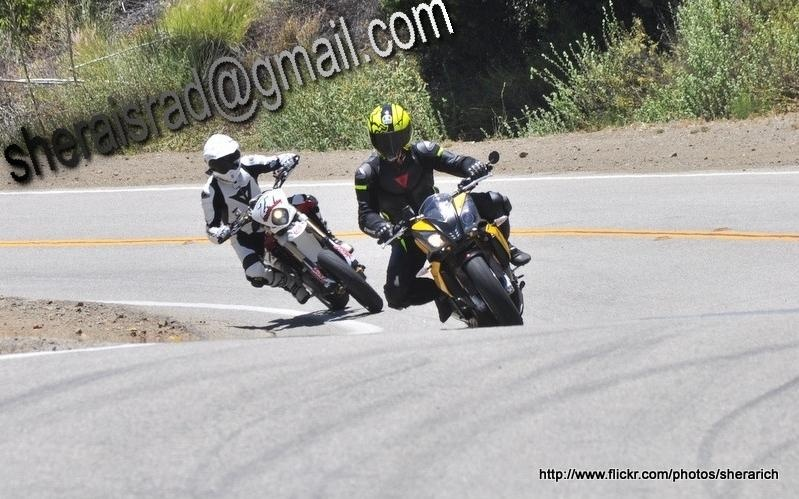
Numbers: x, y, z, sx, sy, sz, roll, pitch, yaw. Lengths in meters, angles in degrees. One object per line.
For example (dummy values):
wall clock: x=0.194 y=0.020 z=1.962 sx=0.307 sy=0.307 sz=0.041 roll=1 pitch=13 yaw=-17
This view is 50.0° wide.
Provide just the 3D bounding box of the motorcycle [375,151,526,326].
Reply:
motorcycle: x=0.791 y=0.155 z=10.340 sx=1.217 sy=1.725 sz=0.898 roll=-6 pitch=13 yaw=13

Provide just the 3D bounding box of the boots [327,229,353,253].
boots: x=-0.913 y=-0.117 z=13.215 sx=0.137 sy=0.404 sz=0.170 roll=-45 pitch=-6 yaw=-17

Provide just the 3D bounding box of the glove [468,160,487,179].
glove: x=0.985 y=-0.986 z=10.902 sx=0.193 sy=0.103 sz=0.243 roll=-20 pitch=38 yaw=-8
